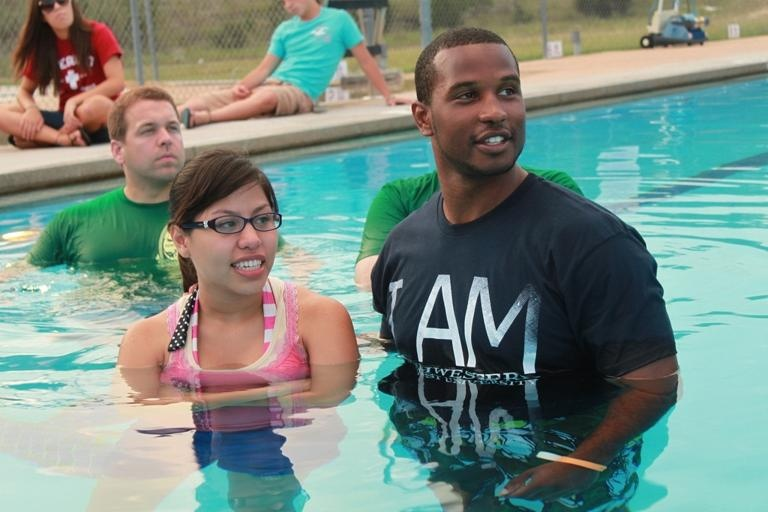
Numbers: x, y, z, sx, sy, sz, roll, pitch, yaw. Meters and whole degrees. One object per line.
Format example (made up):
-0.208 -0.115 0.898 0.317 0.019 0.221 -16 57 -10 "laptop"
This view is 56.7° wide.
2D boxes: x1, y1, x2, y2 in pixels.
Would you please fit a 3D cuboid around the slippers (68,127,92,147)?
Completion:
-3.569 -1.434 8.402 0.150 0.237 0.084 -21 17 41 "slippers"

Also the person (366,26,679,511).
0.469 -0.074 2.773 0.661 1.675 1.115 -16 16 -34 "person"

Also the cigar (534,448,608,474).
0.642 0.716 2.480 0.262 0.061 0.012 11 -21 21 "cigar"
